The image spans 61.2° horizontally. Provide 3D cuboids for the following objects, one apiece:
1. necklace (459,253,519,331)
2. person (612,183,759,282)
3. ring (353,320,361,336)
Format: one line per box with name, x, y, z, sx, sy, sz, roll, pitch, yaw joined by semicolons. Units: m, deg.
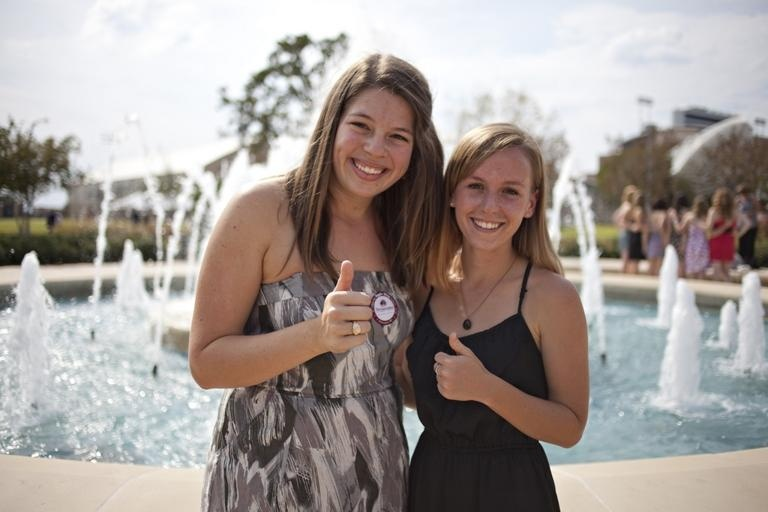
necklace;0.719;0.280;4.669;0.223;0.718;0.068;12;-19;31
person;3.460;-0.250;7.336;0.763;1.778;0.887;2;1;-16
ring;-0.165;0.440;3.978;0.055;0.076;0.017;-1;0;-1
